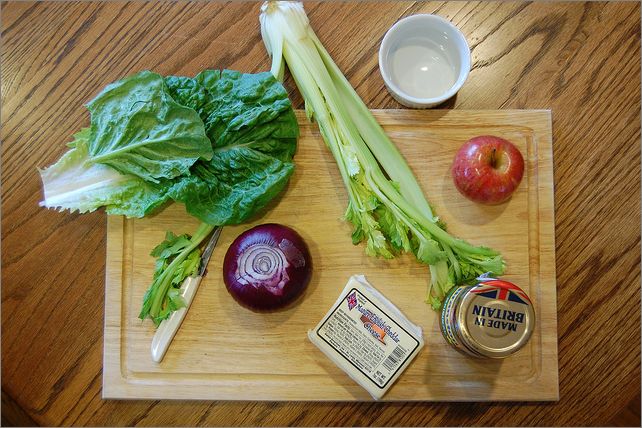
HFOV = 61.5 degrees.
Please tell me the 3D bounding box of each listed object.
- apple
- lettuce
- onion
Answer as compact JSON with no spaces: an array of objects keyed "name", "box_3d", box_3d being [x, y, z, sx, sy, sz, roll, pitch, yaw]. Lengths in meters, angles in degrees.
[{"name":"apple","box_3d":[0.531,-0.139,1.704,0.166,0.213,0.207,-9,-48,-20]},{"name":"lettuce","box_3d":[-0.469,-0.231,1.740,0.760,0.587,0.261,10,-23,11]},{"name":"onion","box_3d":[-0.173,0.170,1.729,0.278,0.265,0.108,17,-23,-5]}]
